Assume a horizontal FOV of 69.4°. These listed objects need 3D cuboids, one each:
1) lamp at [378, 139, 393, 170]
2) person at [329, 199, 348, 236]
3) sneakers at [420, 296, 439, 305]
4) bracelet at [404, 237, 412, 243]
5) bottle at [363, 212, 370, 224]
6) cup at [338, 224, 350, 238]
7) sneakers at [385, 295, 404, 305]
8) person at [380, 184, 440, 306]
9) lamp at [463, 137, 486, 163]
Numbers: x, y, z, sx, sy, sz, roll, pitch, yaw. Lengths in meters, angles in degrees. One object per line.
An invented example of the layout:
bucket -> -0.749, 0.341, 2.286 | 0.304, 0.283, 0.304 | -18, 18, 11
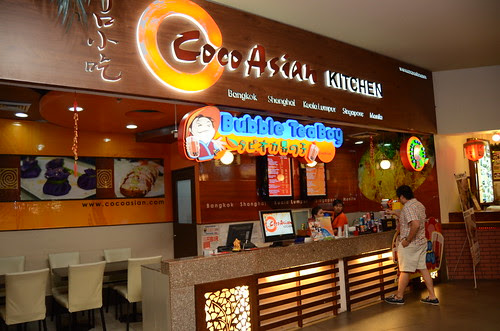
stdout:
lamp -> 3.684, -0.281, 9.845 | 0.335, 0.739, 0.770 | -3, -4, 20
person -> 1.905, 1.137, 7.871 | 0.378, 0.900, 0.440 | 10, -20, -10
sneakers -> 3.533, 2.652, 7.140 | 0.355, 0.151, 0.141 | 2, -4, 33
bracelet -> 3.043, 1.425, 6.933 | 0.098, 0.074, 0.132 | 8, -14, 5
bottle -> 2.508, 1.123, 7.737 | 0.115, 0.205, 0.302 | -3, -4, 22
cup -> 1.863, 1.290, 7.213 | 0.307, 0.312, 0.172 | 1, 0, -11
sneakers -> 2.859, 2.659, 7.197 | 0.294, 0.120, 0.156 | 4, -2, 32
person -> 3.161, 1.565, 7.219 | 0.681, 2.340, 0.751 | 2, -5, -37
lamp -> 5.816, -0.425, 9.643 | 0.569, 0.753, 0.578 | 2, 1, 8
